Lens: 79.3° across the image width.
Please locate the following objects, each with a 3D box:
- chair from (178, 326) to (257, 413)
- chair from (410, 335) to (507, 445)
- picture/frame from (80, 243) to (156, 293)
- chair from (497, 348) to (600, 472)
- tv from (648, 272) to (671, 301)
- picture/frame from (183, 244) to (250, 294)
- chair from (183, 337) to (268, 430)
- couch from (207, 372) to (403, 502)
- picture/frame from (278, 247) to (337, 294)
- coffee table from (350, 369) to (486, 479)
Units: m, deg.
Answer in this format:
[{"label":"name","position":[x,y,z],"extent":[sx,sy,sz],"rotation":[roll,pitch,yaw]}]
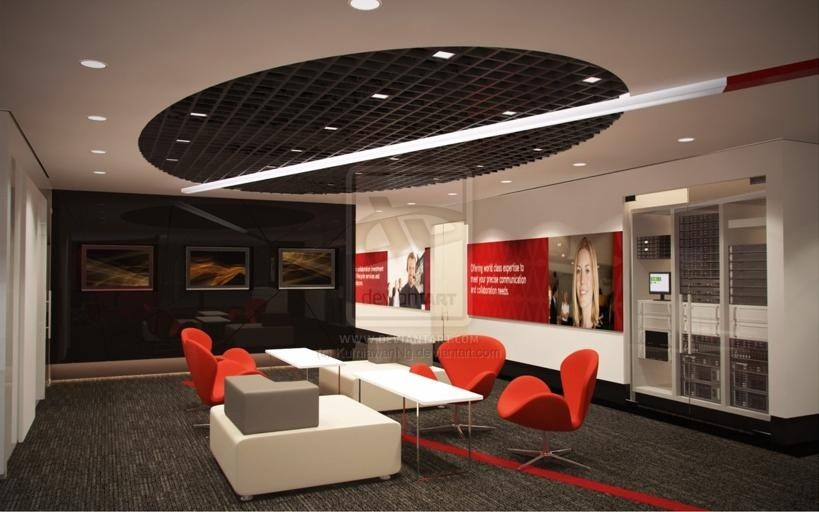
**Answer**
[{"label":"chair","position":[-2.690,1.716,6.994],"extent":[1.265,0.920,1.141],"rotation":[11,-5,-15]},{"label":"chair","position":[0.645,1.775,6.734],"extent":[1.286,1.217,1.133],"rotation":[-4,-4,35]},{"label":"picture/frame","position":[-5.642,0.246,9.546],"extent":[1.197,0.913,0.110],"rotation":[0,11,-33]},{"label":"chair","position":[1.615,1.792,5.891],"extent":[1.237,1.248,1.171],"rotation":[-2,-4,25]},{"label":"tv","position":[3.752,0.450,7.425],"extent":[0.139,0.390,0.412],"rotation":[7,-9,-24]},{"label":"picture/frame","position":[-4.020,0.254,10.096],"extent":[1.132,0.760,0.080],"rotation":[0,-1,-21]},{"label":"chair","position":[-2.649,1.753,6.962],"extent":[1.069,1.080,1.143],"rotation":[7,-5,-34]},{"label":"couch","position":[-1.180,1.911,5.330],"extent":[1.412,0.798,1.387],"rotation":[1,-3,-24]},{"label":"picture/frame","position":[-2.249,0.271,10.822],"extent":[1.273,0.884,0.125],"rotation":[0,-1,7]},{"label":"coffee table","position":[-0.003,1.775,5.986],"extent":[1.502,0.479,0.500],"rotation":[15,-14,-4]}]
